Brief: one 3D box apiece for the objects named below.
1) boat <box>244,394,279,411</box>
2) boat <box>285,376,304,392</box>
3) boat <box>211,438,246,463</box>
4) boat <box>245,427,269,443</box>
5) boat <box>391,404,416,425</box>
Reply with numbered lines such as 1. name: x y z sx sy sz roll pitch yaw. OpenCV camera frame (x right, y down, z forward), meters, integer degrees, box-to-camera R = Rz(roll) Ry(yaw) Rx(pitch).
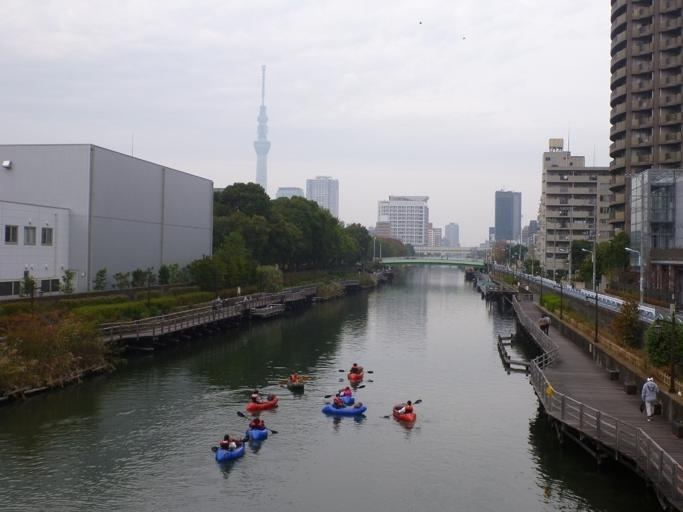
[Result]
1. boat: -7.103 12.850 63.196 3.036 1.317 1.757 -4 8 -36
2. boat: -4.505 12.228 69.256 1.819 1.163 2.831 0 7 -4
3. boat: -8.457 14.647 53.747 2.361 1.233 1.552 -2 7 -22
4. boat: -6.673 14.176 56.861 1.908 0.765 1.546 -1 7 -19
5. boat: 5.361 13.427 60.756 1.994 1.187 2.591 1 6 -2
